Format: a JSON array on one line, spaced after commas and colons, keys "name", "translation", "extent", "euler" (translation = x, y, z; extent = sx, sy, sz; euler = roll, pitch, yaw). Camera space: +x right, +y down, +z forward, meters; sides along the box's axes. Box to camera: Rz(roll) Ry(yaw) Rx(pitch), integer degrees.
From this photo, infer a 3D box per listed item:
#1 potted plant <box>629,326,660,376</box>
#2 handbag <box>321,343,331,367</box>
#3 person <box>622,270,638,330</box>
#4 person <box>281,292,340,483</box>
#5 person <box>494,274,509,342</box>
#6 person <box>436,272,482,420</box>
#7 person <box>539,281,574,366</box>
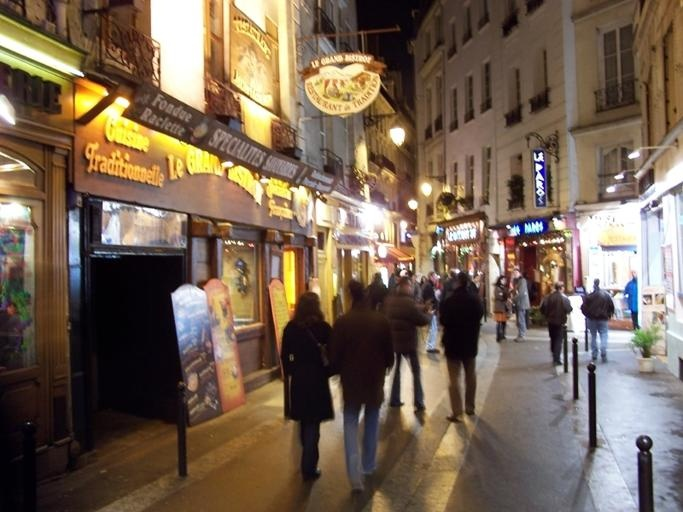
[{"name": "potted plant", "translation": [6.949, 2.153, 13.116], "extent": [0.514, 1.011, 0.608], "euler": [-3, -5, 33]}, {"name": "handbag", "translation": [-0.231, 1.365, 7.973], "extent": [0.127, 0.302, 0.063], "euler": [-1, 4, -2]}, {"name": "person", "translation": [8.870, 1.386, 17.561], "extent": [0.412, 1.728, 1.423], "euler": [1, 5, 27]}, {"name": "person", "translation": [-0.475, 1.781, 8.078], "extent": [0.716, 2.524, 0.514], "euler": [-1, 4, -2]}, {"name": "person", "translation": [4.979, 1.585, 17.953], "extent": [0.400, 2.019, 1.153], "euler": [1, 4, 15]}, {"name": "person", "translation": [2.112, 1.556, 10.198], "extent": [0.702, 2.512, 0.898], "euler": [2, 5, 29]}, {"name": "person", "translation": [5.294, 1.639, 14.187], "extent": [0.687, 1.975, 0.870], "euler": [1, 5, 24]}]
